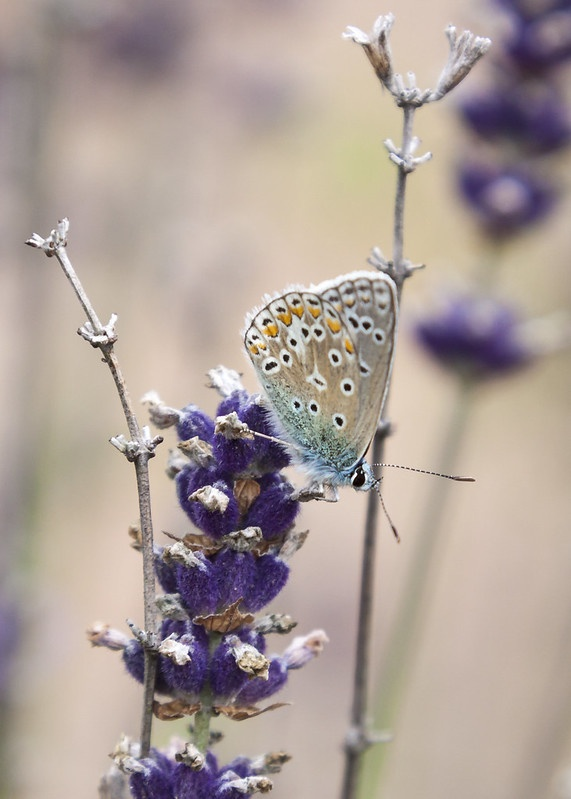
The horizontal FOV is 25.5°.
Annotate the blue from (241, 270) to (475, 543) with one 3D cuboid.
[{"bbox_3d":[0.055,0.003,2.145,0.255,0.384,0.419,1,-23,-2],"label":"blue"}]
